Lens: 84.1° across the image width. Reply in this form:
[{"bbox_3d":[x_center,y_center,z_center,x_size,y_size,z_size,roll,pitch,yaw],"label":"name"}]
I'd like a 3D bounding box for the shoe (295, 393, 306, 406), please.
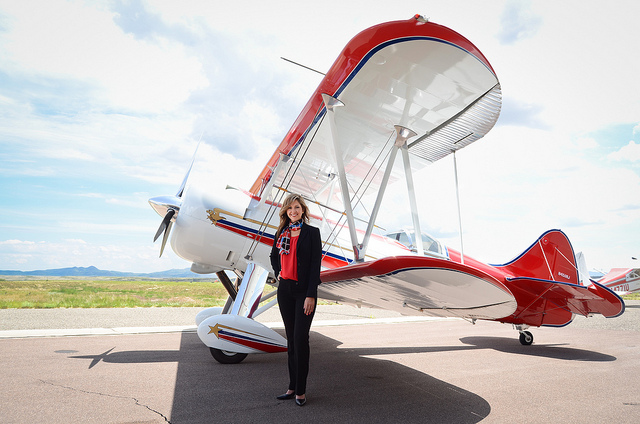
[{"bbox_3d":[-0.248,2.415,4.557,0.136,0.082,0.348,1,-8,2],"label":"shoe"}]

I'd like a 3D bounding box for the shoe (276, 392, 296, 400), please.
[{"bbox_3d":[-0.441,2.444,4.735,0.270,0.093,0.076,1,-10,8],"label":"shoe"}]

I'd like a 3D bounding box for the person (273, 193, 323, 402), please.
[{"bbox_3d":[-0.304,1.107,4.701,0.702,2.743,0.373,-1,-10,23],"label":"person"}]

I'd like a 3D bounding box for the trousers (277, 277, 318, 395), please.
[{"bbox_3d":[-0.301,1.626,4.634,0.571,1.517,0.427,0,-10,15],"label":"trousers"}]
